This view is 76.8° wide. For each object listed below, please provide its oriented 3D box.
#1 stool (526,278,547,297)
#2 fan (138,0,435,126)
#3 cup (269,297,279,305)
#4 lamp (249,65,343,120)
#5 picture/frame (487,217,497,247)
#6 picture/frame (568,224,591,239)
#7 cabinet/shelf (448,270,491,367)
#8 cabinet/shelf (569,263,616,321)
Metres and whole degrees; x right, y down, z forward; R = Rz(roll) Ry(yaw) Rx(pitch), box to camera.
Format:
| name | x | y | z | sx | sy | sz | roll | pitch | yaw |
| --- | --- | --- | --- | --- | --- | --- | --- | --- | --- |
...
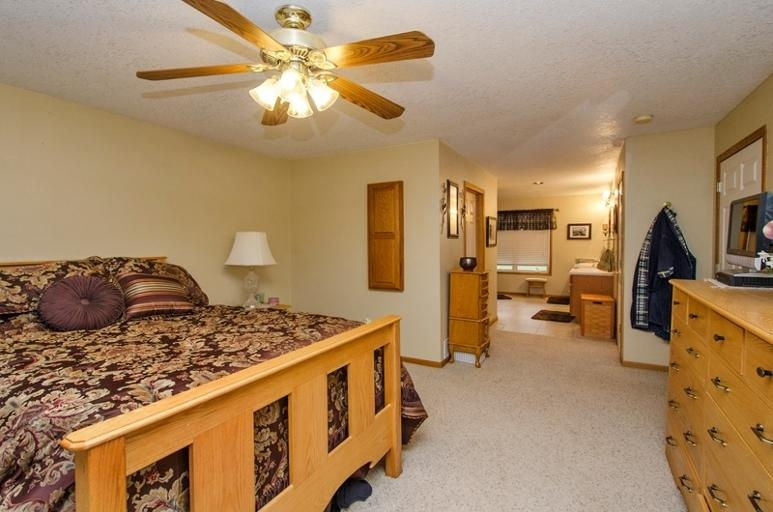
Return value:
| name | x | y | z | sx | sy | sz | roll | pitch | yaw |
| --- | --- | --- | --- | --- | --- | --- | --- | --- | --- |
| stool | 3.100 | 0.637 | 10.125 | 0.573 | 0.478 | 0.331 | -4 | -5 | 39 |
| fan | -0.549 | -1.286 | 3.215 | 1.678 | 0.631 | 1.103 | -1 | 2 | 2 |
| cup | -1.223 | 0.483 | 5.287 | 0.087 | 0.051 | 0.087 | 1 | 0 | 0 |
| lamp | -0.568 | -1.071 | 3.327 | 0.433 | 0.123 | 0.435 | -5 | -14 | 26 |
| picture/frame | 1.556 | -0.373 | 7.244 | 0.055 | 0.362 | 0.512 | 0 | -1 | 22 |
| picture/frame | 3.804 | -0.499 | 9.589 | 0.311 | 0.248 | 0.026 | 1 | -1 | 40 |
| cabinet/shelf | 0.913 | 0.693 | 5.514 | 0.397 | 1.037 | 0.299 | 2 | 5 | 35 |
| cabinet/shelf | 3.162 | 0.739 | 7.502 | 0.640 | 0.769 | 1.637 | 0 | -3 | 25 |
